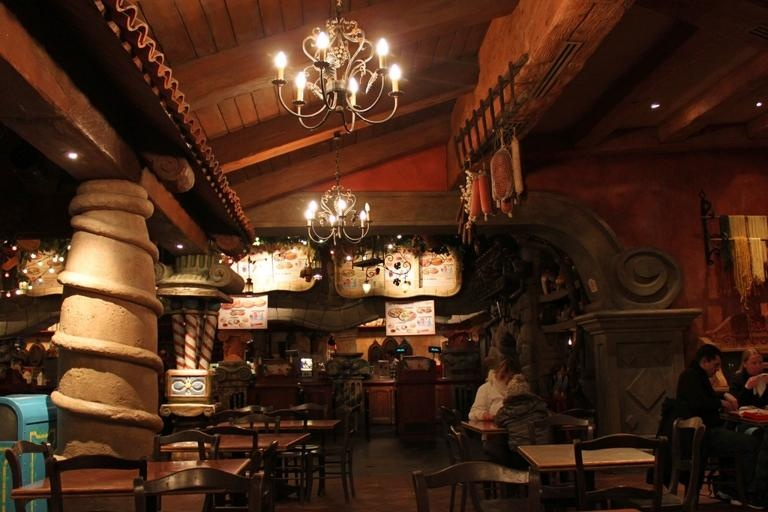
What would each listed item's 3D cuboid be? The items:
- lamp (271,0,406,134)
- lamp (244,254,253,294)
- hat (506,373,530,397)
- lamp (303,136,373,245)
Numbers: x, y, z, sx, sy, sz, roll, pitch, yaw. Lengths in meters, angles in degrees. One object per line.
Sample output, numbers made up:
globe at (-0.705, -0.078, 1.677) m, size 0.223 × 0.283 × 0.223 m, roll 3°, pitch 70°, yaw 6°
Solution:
lamp at (-0.549, -2.243, 7.428) m, size 1.081 × 1.415 × 1.135 m, roll 13°, pitch -27°, yaw -24°
lamp at (-3.002, 0.388, 14.560) m, size 0.193 × 0.790 × 0.241 m, roll 2°, pitch -17°, yaw -12°
hat at (1.722, 1.676, 8.365) m, size 0.293 × 0.295 × 0.313 m, roll 5°, pitch -8°, yaw 13°
lamp at (-0.768, -1.040, 10.926) m, size 1.135 × 1.654 × 2.387 m, roll 1°, pitch -17°, yaw -7°
